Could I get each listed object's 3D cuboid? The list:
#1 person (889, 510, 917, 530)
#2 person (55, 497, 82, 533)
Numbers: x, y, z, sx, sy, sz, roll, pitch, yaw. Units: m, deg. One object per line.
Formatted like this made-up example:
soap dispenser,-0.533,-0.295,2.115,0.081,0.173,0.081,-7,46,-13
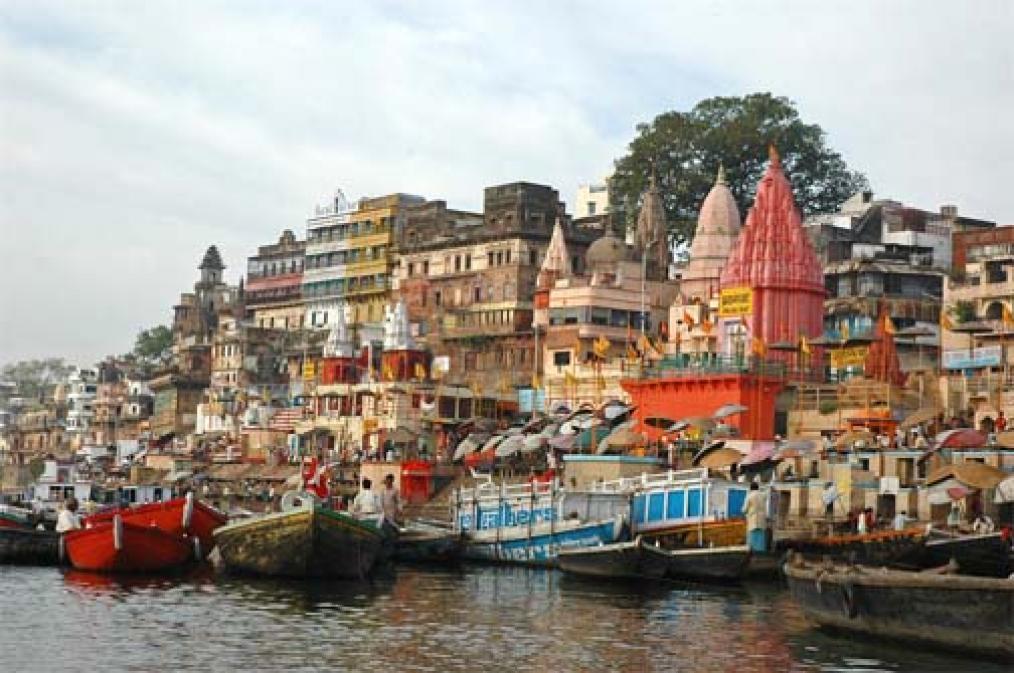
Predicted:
person,14.562,6.882,81.051,0.610,0.422,0.956,1,0,-3
person,-16.785,6.875,83.257,1.189,1.209,0.797,9,12,44
